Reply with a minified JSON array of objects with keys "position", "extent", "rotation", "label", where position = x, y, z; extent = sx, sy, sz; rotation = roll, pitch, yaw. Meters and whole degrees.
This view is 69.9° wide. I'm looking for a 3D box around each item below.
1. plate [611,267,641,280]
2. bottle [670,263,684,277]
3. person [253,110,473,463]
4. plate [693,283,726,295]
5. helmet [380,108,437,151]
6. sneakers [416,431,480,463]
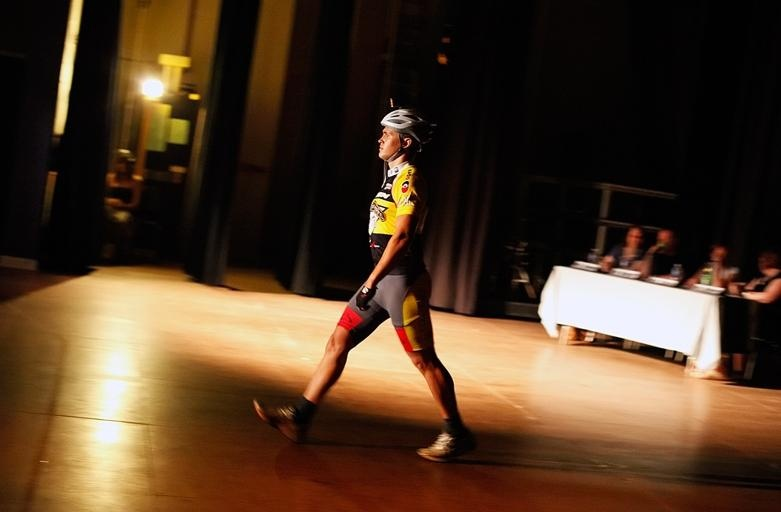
[{"position":[2.808,0.214,6.715],"extent":[0.154,0.055,0.226],"rotation":[-17,22,-42],"label":"plate"},{"position":[3.427,0.176,6.721],"extent":[0.161,0.155,0.164],"rotation":[4,-2,7],"label":"bottle"},{"position":[-0.007,0.170,3.568],"extent":[1.310,2.181,0.426],"rotation":[8,10,-6],"label":"person"},{"position":[3.582,0.375,6.336],"extent":[0.303,0.055,0.320],"rotation":[3,11,-34],"label":"plate"},{"position":[0.122,-0.834,3.621],"extent":[0.338,0.205,0.256],"rotation":[24,11,0],"label":"helmet"},{"position":[0.382,1.230,3.706],"extent":[0.447,0.204,0.158],"rotation":[-11,9,-6],"label":"sneakers"}]
